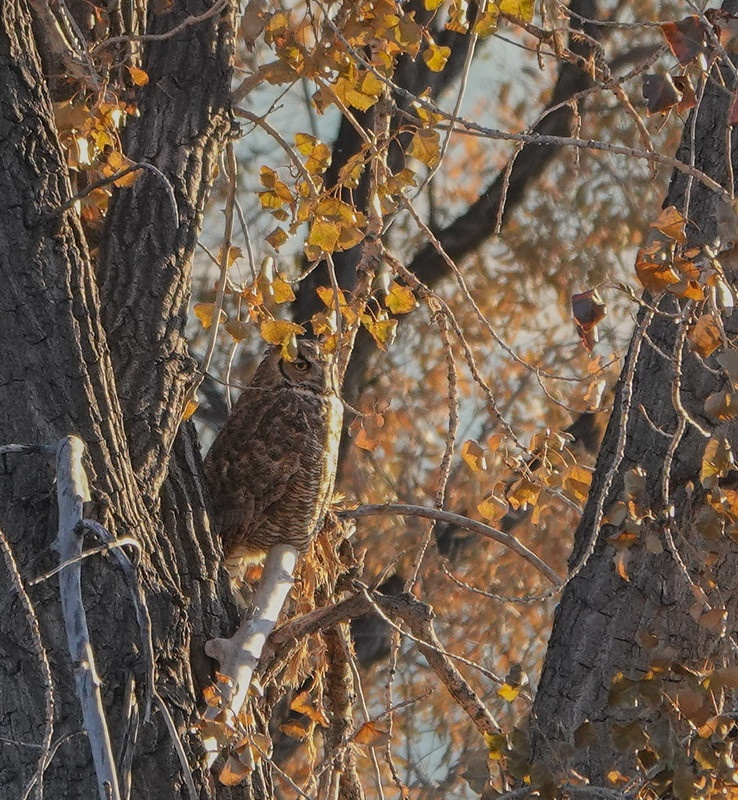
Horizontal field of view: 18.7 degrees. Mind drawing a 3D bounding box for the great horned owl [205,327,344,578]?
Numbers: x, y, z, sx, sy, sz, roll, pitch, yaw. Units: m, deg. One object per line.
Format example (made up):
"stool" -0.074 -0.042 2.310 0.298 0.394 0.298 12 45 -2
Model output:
"great horned owl" -0.277 0.183 6.942 0.506 0.705 0.335 -15 -48 -18
